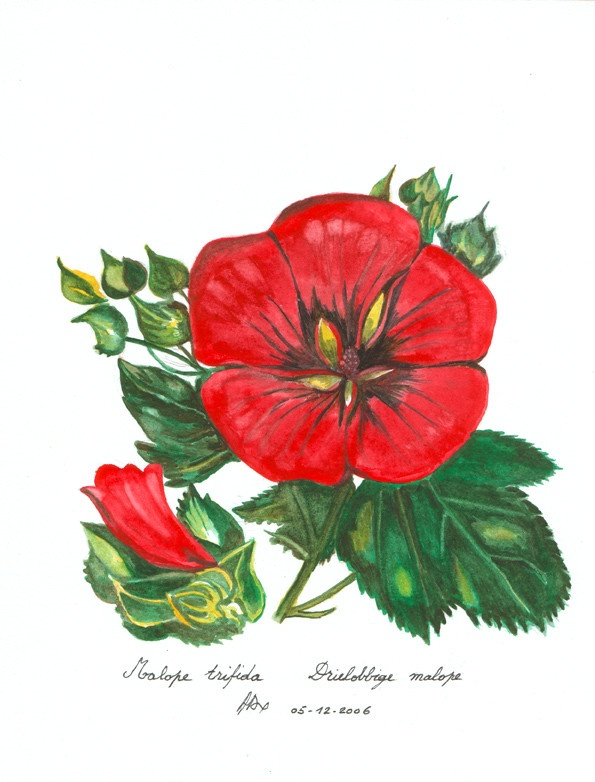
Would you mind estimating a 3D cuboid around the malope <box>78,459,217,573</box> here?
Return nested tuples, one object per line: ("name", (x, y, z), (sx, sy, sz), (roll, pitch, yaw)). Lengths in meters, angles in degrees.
("malope", (-0.217, 0.183, 1.223), (0.128, 0.169, 0.092), (-24, -35, 2))

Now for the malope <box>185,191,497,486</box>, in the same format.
("malope", (0.089, -0.042, 1.214), (0.506, 0.380, 0.106), (-15, -1, -40))
